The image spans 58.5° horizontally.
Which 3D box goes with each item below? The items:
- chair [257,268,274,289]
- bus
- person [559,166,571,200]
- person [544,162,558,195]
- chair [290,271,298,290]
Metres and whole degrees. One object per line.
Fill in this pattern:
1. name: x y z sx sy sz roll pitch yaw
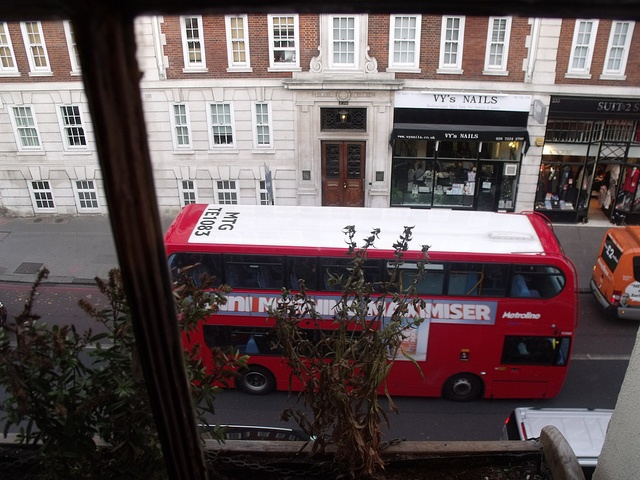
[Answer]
1. chair: -0.883 0.636 9.285 0.335 0.331 0.245 2 25 1
2. bus: 1.374 0.767 10.636 7.984 3.326 2.888 0 33 2
3. person: 7.220 -1.659 16.808 0.340 1.056 0.128 7 20 21
4. person: 6.803 -1.770 16.910 0.415 1.063 0.171 11 38 27
5. chair: -0.425 0.651 9.212 0.181 0.242 0.166 7 38 4
